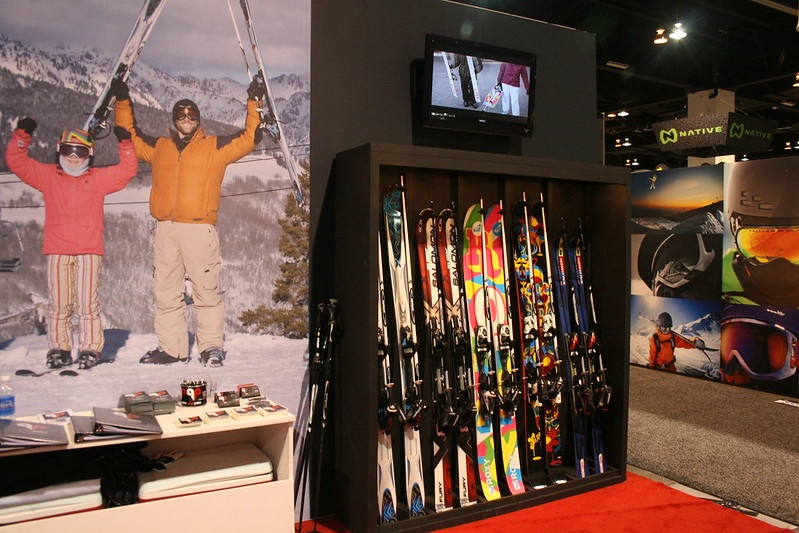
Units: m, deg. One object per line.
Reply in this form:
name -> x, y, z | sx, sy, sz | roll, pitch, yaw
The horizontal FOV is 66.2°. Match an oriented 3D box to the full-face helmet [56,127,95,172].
full-face helmet -> -2.108, -0.761, 4.058 | 0.190, 0.279, 0.269 | 7, 23, -28

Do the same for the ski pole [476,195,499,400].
ski pole -> 0.627, 0.261, 4.604 | 0.148, 1.414, 0.155 | 0, -4, -16

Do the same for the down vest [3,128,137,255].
down vest -> -2.196, -0.494, 3.989 | 0.800, 0.844, 0.106 | 0, 0, -28

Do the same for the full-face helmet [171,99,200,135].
full-face helmet -> -1.456, -1.037, 4.198 | 0.167, 0.234, 0.229 | -3, 13, -19

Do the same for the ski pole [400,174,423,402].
ski pole -> 0.083, 0.140, 4.396 | 0.175, 1.565, 0.164 | -1, 2, 43

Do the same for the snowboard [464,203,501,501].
snowboard -> 0.577, 0.522, 4.654 | 0.236, 2.343, 0.242 | 1, -4, -29

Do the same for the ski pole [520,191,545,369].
ski pole -> 1.010, 0.143, 4.795 | 0.158, 1.537, 0.167 | -3, -2, -16

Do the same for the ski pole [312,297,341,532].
ski pole -> -0.503, 0.997, 4.395 | 0.161, 1.877, 0.258 | 2, -4, -2

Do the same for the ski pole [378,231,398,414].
ski pole -> -0.062, 0.395, 4.346 | 0.138, 1.240, 0.207 | -4, 1, -24

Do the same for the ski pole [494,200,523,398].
ski pole -> 0.796, 0.210, 4.675 | 0.169, 1.575, 0.127 | -3, 0, -29

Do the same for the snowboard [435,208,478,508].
snowboard -> 0.420, 0.603, 4.581 | 0.231, 2.438, 0.234 | -2, 0, -24

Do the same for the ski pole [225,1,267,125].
ski pole -> -1.091, -1.443, 4.271 | 0.091, 0.879, 0.117 | -15, 21, -14
